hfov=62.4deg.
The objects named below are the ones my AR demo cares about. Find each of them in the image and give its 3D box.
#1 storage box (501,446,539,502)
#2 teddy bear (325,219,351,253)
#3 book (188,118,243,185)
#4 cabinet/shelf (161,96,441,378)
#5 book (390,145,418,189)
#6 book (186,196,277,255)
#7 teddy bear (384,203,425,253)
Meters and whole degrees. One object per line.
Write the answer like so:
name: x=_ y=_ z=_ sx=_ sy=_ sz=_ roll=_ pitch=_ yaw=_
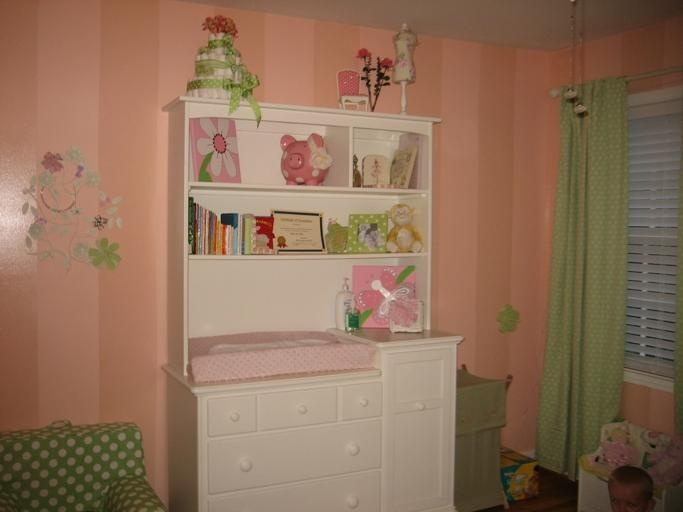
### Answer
storage box: x=1.219 y=1.538 z=3.965 sx=0.267 sy=0.278 sz=0.171 roll=1 pitch=-3 yaw=-25
teddy bear: x=-0.041 y=-0.110 z=3.638 sx=0.131 sy=0.222 sz=0.156 roll=-4 pitch=-13 yaw=-3
book: x=-0.718 y=-0.581 z=3.144 sx=0.330 sy=0.456 sz=0.048 roll=-8 pitch=11 yaw=-39
cabinet/shelf: x=-0.291 y=-0.088 z=3.420 sx=1.664 sy=1.684 sz=0.492 roll=-2 pitch=3 yaw=-25
book: x=0.451 y=-0.563 z=3.690 sx=0.067 sy=0.263 sz=0.253 roll=13 pitch=-10 yaw=-27
book: x=-0.628 y=-0.163 z=3.252 sx=0.510 sy=0.334 sz=0.227 roll=-3 pitch=5 yaw=-17
teddy bear: x=0.357 y=-0.163 z=3.762 sx=0.311 sy=0.446 sz=0.278 roll=0 pitch=-3 yaw=-6
